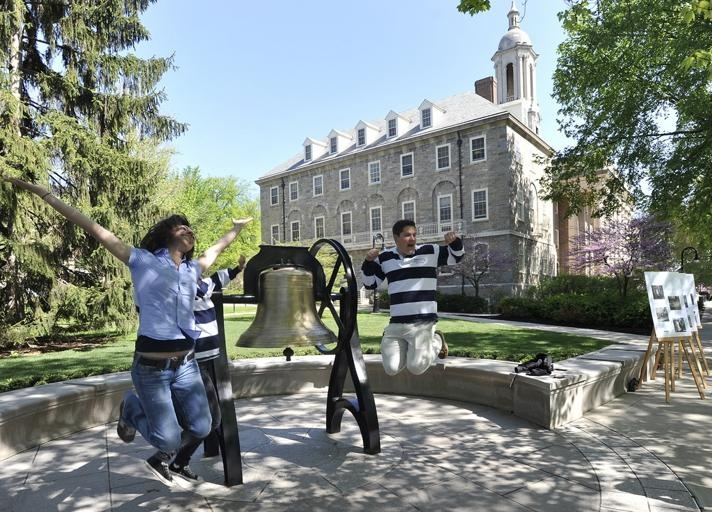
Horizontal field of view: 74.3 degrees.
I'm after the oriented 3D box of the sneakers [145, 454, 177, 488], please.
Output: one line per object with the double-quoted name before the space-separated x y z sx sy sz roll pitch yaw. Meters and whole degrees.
"sneakers" -1.844 2.054 4.506 0.236 0.254 0.228 0 0 -40
